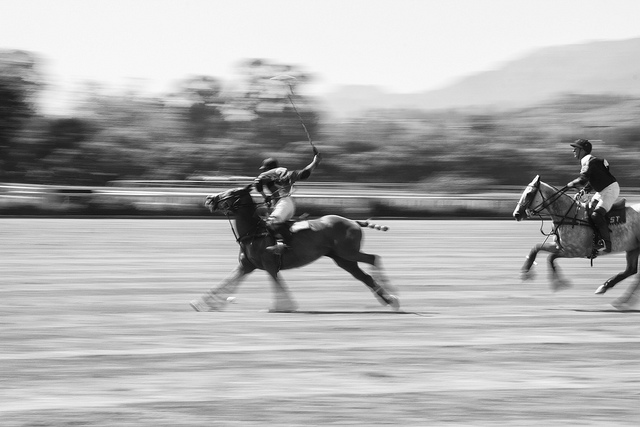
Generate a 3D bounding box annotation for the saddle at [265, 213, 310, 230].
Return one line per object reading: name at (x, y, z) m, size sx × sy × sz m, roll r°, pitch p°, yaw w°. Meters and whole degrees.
saddle at (-0.490, 0.110, 17.341) m, size 0.871 × 0.242 × 0.465 m, roll -4°, pitch 9°, yaw -32°

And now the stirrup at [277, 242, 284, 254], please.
stirrup at (-0.660, 0.548, 17.005) m, size 0.103 × 0.153 × 0.149 m, roll 1°, pitch -5°, yaw -7°

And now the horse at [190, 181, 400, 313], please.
horse at (0.132, 0.647, 17.488) m, size 5.858 × 2.195 × 1.439 m, roll -3°, pitch -11°, yaw 39°

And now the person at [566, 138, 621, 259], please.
person at (4.737, -0.240, 18.033) m, size 0.943 × 2.043 × 0.700 m, roll 5°, pitch 14°, yaw 19°

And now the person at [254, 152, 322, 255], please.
person at (-0.558, -0.190, 17.400) m, size 1.101 × 1.663 × 1.264 m, roll 0°, pitch 11°, yaw -1°

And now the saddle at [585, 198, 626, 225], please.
saddle at (4.959, -0.037, 18.021) m, size 0.704 × 0.411 × 0.353 m, roll 1°, pitch 11°, yaw 7°
